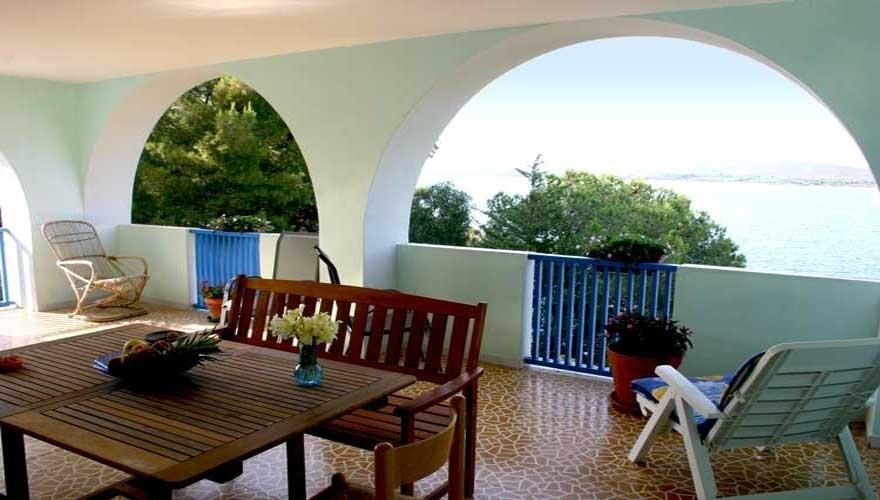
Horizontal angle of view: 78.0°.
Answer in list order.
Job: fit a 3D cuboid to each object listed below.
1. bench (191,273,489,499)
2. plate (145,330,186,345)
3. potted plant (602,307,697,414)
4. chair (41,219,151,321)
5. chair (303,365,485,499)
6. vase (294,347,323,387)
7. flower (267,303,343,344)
[{"bbox_3d":[-0.783,1.106,4.246,1.941,1.007,0.791,3,5,29],"label":"bench"},{"bbox_3d":[-2.124,0.665,4.181,0.189,0.039,0.177,-6,15,-35],"label":"plate"},{"bbox_3d":[2.228,1.143,5.849,1.010,1.029,1.176,7,7,35],"label":"potted plant"},{"bbox_3d":[-5.183,0.264,8.247,1.794,1.460,1.274,6,10,22],"label":"chair"},{"bbox_3d":[-0.273,1.248,4.356,1.416,0.971,1.074,5,10,30],"label":"chair"},{"bbox_3d":[-0.949,0.842,3.982,0.231,0.277,0.233,2,4,42],"label":"vase"},{"bbox_3d":[-0.959,0.500,4.021,0.434,0.232,0.403,7,1,-3],"label":"flower"}]
